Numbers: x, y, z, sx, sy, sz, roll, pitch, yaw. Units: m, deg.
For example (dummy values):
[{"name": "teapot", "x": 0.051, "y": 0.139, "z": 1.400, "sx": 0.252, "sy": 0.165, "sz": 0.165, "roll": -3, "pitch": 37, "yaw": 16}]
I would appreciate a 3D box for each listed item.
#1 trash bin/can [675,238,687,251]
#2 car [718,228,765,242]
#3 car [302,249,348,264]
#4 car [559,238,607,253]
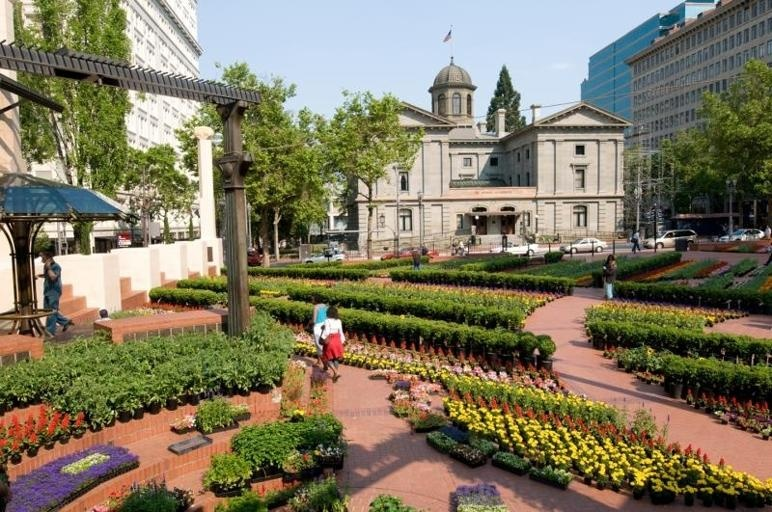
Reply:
[{"name": "trash bin/can", "x": 21.168, "y": -0.767, "z": 48.282, "sx": 0.791, "sy": 1.078, "sz": 1.076, "roll": 6, "pitch": 9, "yaw": 44}, {"name": "car", "x": 30.814, "y": -1.857, "z": 58.170, "sx": 2.996, "sy": 0.789, "sz": 2.663, "roll": -1, "pitch": 3, "yaw": 16}, {"name": "car", "x": -4.593, "y": 0.108, "z": 52.212, "sx": 2.960, "sy": 1.145, "sz": 1.399, "roll": 1, "pitch": -2, "yaw": 3}, {"name": "car", "x": 16.068, "y": -0.807, "z": 54.492, "sx": 3.837, "sy": 1.172, "sz": 1.484, "roll": -2, "pitch": 3, "yaw": -15}]
